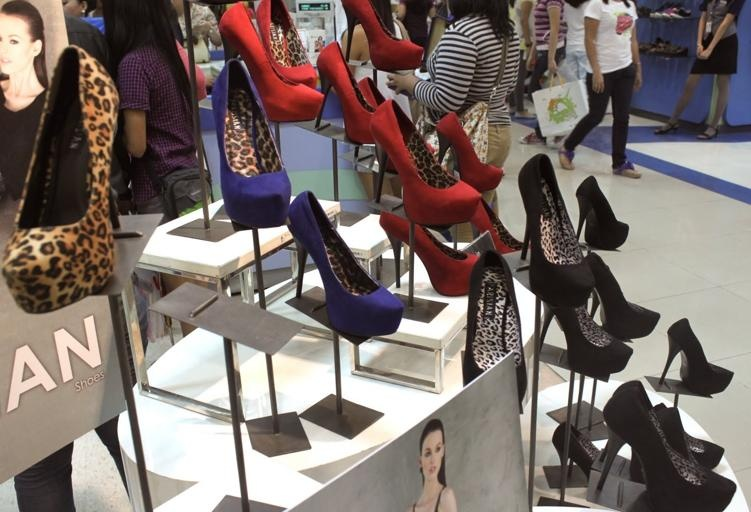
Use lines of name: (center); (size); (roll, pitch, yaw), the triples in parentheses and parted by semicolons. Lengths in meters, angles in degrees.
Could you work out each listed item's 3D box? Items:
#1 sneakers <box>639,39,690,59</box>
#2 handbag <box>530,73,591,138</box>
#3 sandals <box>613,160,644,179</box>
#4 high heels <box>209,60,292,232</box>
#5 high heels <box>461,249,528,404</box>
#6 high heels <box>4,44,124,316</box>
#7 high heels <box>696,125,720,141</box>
sneakers: (3.615, -2.546, 7.113); (0.255, 0.150, 0.422); (-29, 36, -31)
handbag: (1.520, -1.215, 4.634); (0.162, 0.465, 0.450); (-30, 17, -34)
sandals: (2.168, -0.744, 4.905); (0.114, 0.103, 0.228); (-17, 23, -25)
high heels: (-0.369, -0.348, 1.727); (0.189, 0.605, 0.229); (-8, -24, -29)
high heels: (0.331, 0.171, 1.601); (0.159, 0.516, 0.117); (-1, -4, 6)
high heels: (-0.586, -0.134, 1.191); (0.192, 0.598, 0.239); (2, -14, -6)
high heels: (3.645, -1.325, 6.259); (0.128, 0.153, 0.359); (10, 16, 44)
